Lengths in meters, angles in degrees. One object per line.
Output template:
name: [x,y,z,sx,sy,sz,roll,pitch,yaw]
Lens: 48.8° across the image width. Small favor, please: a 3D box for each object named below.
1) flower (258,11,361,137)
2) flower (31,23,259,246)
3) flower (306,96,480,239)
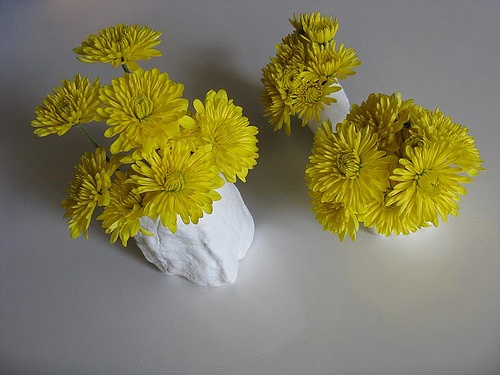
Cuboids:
flower: [0.217,-0.302,1.468,0.273,0.276,0.295,1,-54,30]
flower: [-0.285,-0.100,1.324,0.390,0.311,0.516,-19,29,-41]
flower: [0.343,-0.040,1.324,0.409,0.348,0.172,5,-11,7]
